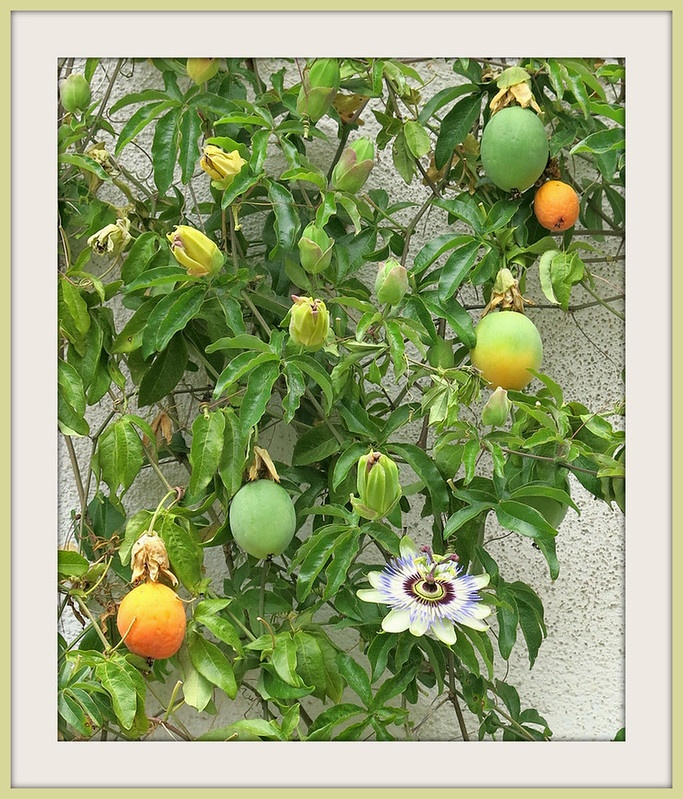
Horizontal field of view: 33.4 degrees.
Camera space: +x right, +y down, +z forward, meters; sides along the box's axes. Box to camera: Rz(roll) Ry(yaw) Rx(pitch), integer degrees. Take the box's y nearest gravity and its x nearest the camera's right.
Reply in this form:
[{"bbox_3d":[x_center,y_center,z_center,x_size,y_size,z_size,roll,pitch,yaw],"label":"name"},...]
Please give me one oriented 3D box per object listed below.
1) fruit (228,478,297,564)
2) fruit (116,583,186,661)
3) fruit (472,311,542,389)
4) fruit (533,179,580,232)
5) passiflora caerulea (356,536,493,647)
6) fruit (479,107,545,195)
[{"bbox_3d":[-0.089,0.138,1.325,0.082,0.079,0.088,-10,79,15],"label":"fruit"},{"bbox_3d":[-0.209,0.247,1.267,0.091,0.084,0.091,1,88,-13],"label":"fruit"},{"bbox_3d":[0.199,-0.059,1.422,0.101,0.092,0.099,-2,80,9],"label":"fruit"},{"bbox_3d":[0.274,-0.246,1.457,0.061,0.063,0.052,-7,33,0],"label":"fruit"},{"bbox_3d":[0.096,0.214,1.261,0.145,0.086,0.111,15,59,10],"label":"passiflora caerulea"},{"bbox_3d":[0.216,-0.313,1.411,0.088,0.096,0.087,5,21,33],"label":"fruit"}]
